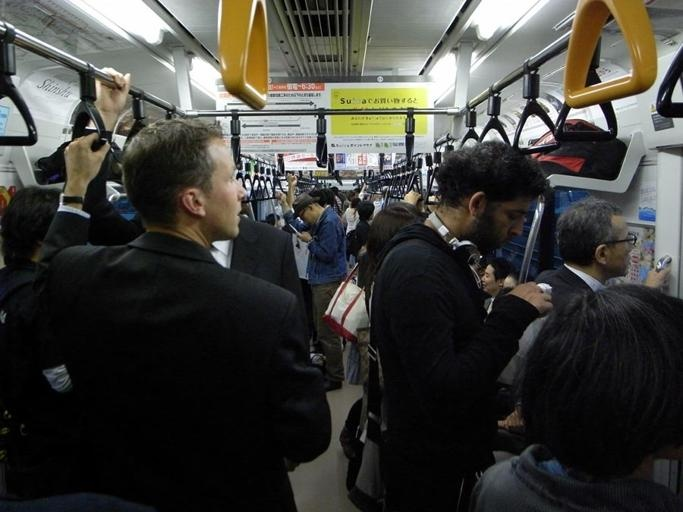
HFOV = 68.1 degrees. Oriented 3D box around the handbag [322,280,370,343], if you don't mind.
[{"bbox_3d":[0.080,0.298,3.239,0.157,0.407,0.305,17,0,7],"label":"handbag"}]
